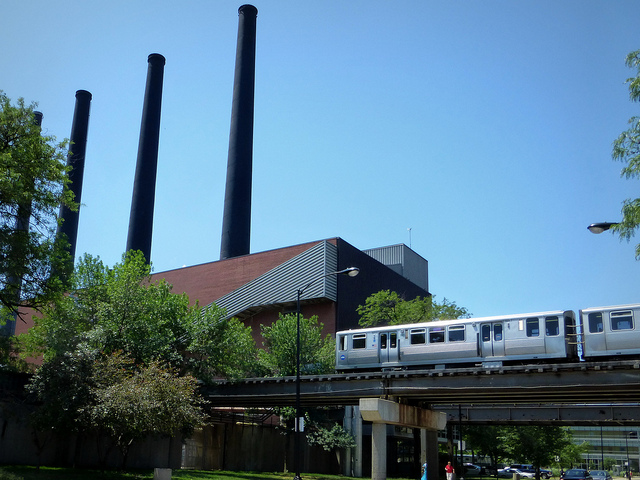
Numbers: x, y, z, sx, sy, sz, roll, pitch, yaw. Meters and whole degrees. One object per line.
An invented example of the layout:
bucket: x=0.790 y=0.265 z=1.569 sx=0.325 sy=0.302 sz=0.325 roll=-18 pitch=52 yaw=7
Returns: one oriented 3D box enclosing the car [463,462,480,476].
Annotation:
car: x=20.157 y=30.309 z=84.021 sx=1.683 sy=1.108 sz=6.740 roll=-5 pitch=-21 yaw=16
